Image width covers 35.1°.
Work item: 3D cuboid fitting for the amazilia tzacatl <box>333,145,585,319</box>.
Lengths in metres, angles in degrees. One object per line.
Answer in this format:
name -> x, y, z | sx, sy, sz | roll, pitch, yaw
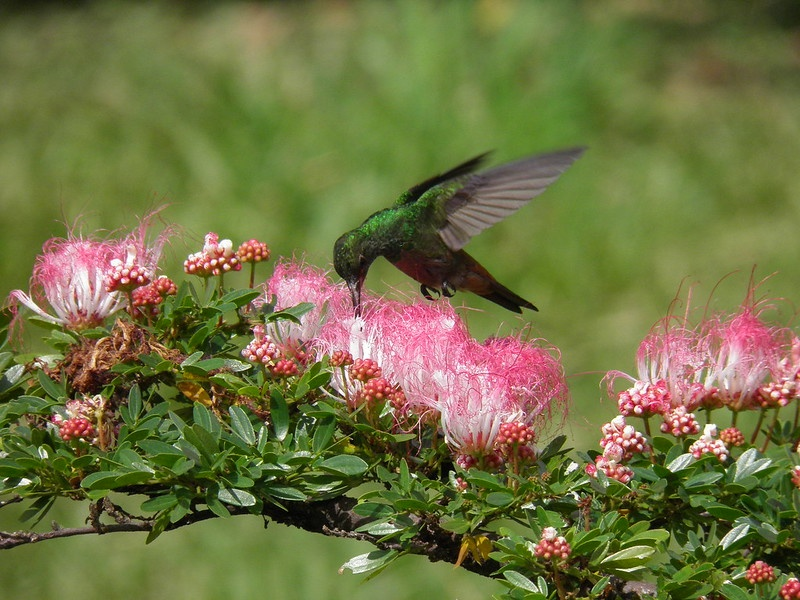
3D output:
amazilia tzacatl -> 0.108, -0.193, 3.136 | 0.623, 0.547, 0.412 | -1, 1, -26
